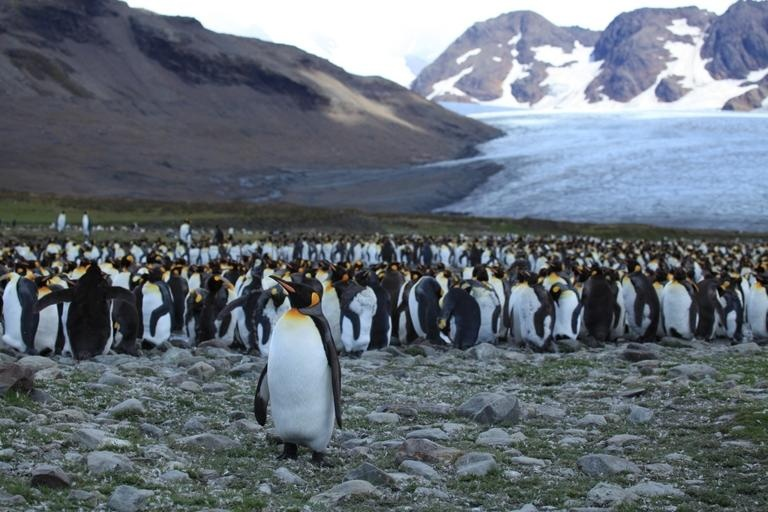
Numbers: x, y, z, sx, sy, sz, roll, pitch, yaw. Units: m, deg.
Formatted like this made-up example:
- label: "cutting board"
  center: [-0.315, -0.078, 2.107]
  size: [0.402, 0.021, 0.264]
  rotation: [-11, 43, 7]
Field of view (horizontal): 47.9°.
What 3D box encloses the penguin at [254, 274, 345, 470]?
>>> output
- label: "penguin"
  center: [-1.154, 1.674, 12.363]
  size: [0.957, 2.606, 0.624]
  rotation: [1, -4, -19]
